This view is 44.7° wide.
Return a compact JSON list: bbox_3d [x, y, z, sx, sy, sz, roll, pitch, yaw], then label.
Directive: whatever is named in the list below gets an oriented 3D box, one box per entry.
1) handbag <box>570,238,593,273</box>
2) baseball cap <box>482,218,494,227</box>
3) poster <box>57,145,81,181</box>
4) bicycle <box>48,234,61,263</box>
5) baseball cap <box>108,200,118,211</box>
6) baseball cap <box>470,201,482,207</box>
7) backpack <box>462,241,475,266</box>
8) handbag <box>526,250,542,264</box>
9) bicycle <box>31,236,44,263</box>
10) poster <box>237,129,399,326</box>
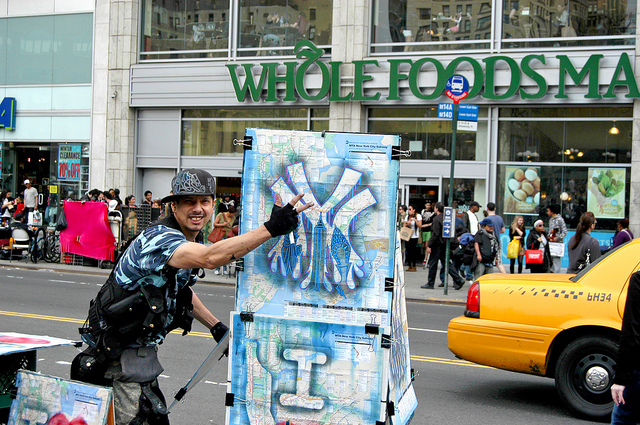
[{"bbox_3d":[5.430,0.896,16.191,0.509,0.600,0.434,9,-6,38],"label":"handbag"},{"bbox_3d":[4.577,0.267,21.385,0.239,0.141,0.179,-2,7,37],"label":"baseball cap"},{"bbox_3d":[-10.217,-2.068,31.749,1.206,1.397,0.276,2,3,37],"label":"poster"},{"bbox_3d":[-8.707,1.151,25.575,0.280,0.771,0.761,1,-10,-5],"label":"bicycle"},{"bbox_3d":[-6.546,-0.237,24.595,0.238,0.325,0.365,1,3,8],"label":"baseball cap"},{"bbox_3d":[4.833,-0.276,23.961,0.379,0.161,0.257,7,-1,-7],"label":"baseball cap"},{"bbox_3d":[4.189,1.178,22.007,0.162,0.600,0.437,4,1,-16],"label":"backpack"},{"bbox_3d":[5.445,1.126,19.831,0.287,0.305,0.117,2,12,13],"label":"handbag"},{"bbox_3d":[-9.231,1.218,25.458,0.472,0.738,0.215,5,6,13],"label":"bicycle"},{"bbox_3d":[-0.046,0.185,10.647,2.041,2.709,0.047,4,-12,0],"label":"poster"}]
